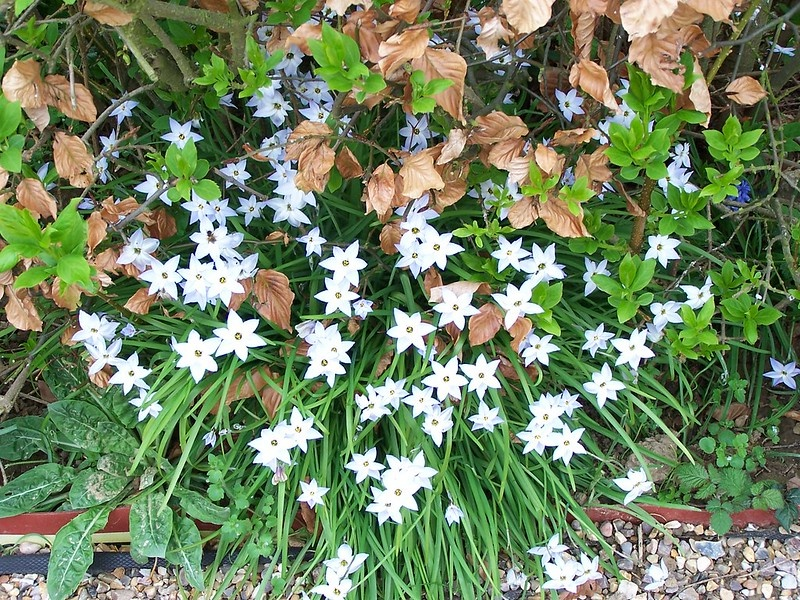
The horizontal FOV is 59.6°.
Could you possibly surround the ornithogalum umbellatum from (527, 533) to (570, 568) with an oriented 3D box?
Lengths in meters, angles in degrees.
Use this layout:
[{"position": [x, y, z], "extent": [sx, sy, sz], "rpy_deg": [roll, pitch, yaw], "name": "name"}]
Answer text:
[{"position": [0.541, 0.923, 2.579], "extent": [0.136, 0.052, 0.132], "rpy_deg": [-32, 82, -22], "name": "ornithogalum umbellatum"}]
